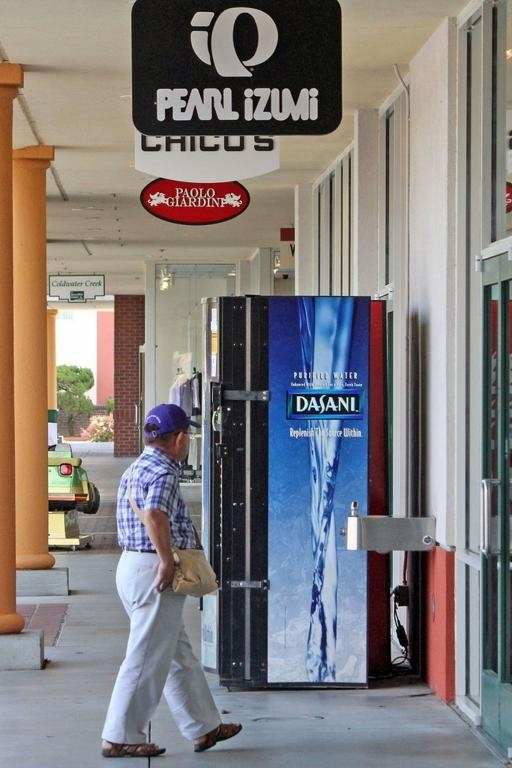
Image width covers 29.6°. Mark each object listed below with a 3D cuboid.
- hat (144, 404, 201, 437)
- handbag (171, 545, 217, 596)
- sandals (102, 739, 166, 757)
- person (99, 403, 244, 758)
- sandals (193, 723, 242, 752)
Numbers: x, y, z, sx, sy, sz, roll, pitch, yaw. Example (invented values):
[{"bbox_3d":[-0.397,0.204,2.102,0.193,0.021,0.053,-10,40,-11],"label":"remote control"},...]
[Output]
[{"bbox_3d":[-0.336,0.137,3.827,0.103,0.096,0.163,2,11,38],"label":"hat"},{"bbox_3d":[-0.237,0.716,3.694,0.128,0.186,0.245,-1,-1,15],"label":"handbag"},{"bbox_3d":[-0.480,1.423,3.764,0.225,0.081,0.089,-1,-2,-10],"label":"sandals"},{"bbox_3d":[-0.350,0.780,3.807,0.446,1.404,0.383,0,-1,-43],"label":"person"},{"bbox_3d":[-0.162,1.430,3.920,0.153,0.071,0.052,-33,30,-28],"label":"sandals"}]
